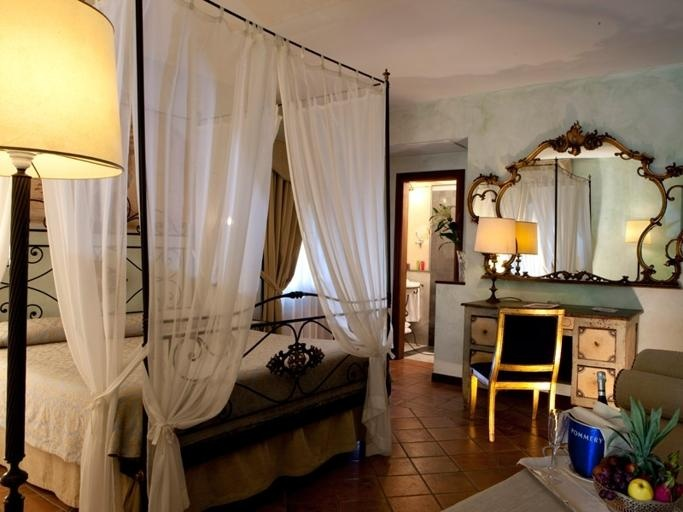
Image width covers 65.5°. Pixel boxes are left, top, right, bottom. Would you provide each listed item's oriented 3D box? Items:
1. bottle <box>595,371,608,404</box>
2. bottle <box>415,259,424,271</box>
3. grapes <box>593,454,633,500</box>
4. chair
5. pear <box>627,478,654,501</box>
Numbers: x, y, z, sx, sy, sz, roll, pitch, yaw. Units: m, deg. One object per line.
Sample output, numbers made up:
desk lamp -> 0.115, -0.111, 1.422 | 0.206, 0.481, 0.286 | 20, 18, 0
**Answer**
bottle -> 1.002, 0.506, 2.048 | 0.032, 0.141, 0.135 | 3, 4, 27
bottle -> 1.103, 0.130, 7.411 | 0.138, 0.157, 0.108 | -2, -6, 35
grapes -> 0.938, 0.760, 1.831 | 0.085, 0.068, 0.119 | -23, 10, 42
chair -> 1.386, 0.886, 4.191 | 0.590, 0.987, 0.495 | 1, 4, -6
pear -> 0.986, 0.779, 1.756 | 0.061, 0.070, 0.064 | -16, -6, -22
